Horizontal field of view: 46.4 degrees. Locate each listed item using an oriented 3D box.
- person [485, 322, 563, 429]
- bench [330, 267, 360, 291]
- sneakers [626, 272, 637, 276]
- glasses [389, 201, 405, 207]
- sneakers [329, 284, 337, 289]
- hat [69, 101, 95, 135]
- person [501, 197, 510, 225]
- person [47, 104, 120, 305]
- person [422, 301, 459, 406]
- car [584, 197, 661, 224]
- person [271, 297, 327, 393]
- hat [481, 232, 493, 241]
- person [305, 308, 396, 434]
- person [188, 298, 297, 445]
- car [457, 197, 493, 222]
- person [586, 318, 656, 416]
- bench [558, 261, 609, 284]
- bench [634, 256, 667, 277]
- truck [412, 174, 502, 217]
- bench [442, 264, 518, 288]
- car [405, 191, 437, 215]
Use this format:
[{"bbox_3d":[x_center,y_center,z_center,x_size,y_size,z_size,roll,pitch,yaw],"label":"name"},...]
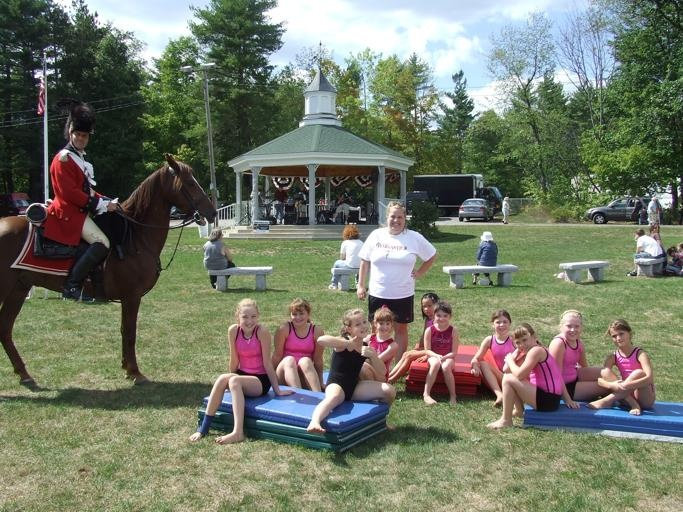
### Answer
[{"bbox_3d":[2.540,1.626,10.730,0.973,1.362,0.497,1,3,12],"label":"person"},{"bbox_3d":[0.041,0.512,18.162,0.737,0.352,0.472,0,14,-9],"label":"bench"},{"bbox_3d":[7.495,0.467,20.490,0.279,0.120,0.101,2,2,3],"label":"sneakers"},{"bbox_3d":[0.838,-0.766,11.889,0.184,0.080,0.273,3,4,32],"label":"glasses"},{"bbox_3d":[-0.191,0.713,18.340,0.105,0.093,0.171,1,3,1],"label":"sneakers"},{"bbox_3d":[-3.828,-2.051,11.742,0.361,0.425,0.472,0,3,-9],"label":"hat"},{"bbox_3d":[8.467,-2.324,40.621,0.317,1.289,2.526,1,4,13],"label":"person"},{"bbox_3d":[-3.893,-0.791,11.752,0.979,2.969,0.444,-1,4,-21],"label":"person"},{"bbox_3d":[1.461,1.396,11.650,0.498,1.387,0.693,1,3,7],"label":"person"},{"bbox_3d":[13.781,-2.263,39.525,3.002,1.098,1.287,3,4,14],"label":"car"},{"bbox_3d":[-0.551,1.293,10.866,0.777,1.335,1.343,3,5,-11],"label":"person"},{"bbox_3d":[3.929,-0.523,21.438,0.419,0.194,0.512,4,18,6],"label":"hat"},{"bbox_3d":[0.090,1.480,10.621,1.327,1.499,0.532,-2,4,-38],"label":"person"},{"bbox_3d":[-1.323,1.504,10.654,1.183,1.798,0.684,-2,4,-36],"label":"person"},{"bbox_3d":[7.201,-2.451,43.064,1.560,1.158,1.179,1,3,5],"label":"car"},{"bbox_3d":[3.788,1.461,10.622,0.753,1.179,0.467,2,4,27],"label":"person"},{"bbox_3d":[5.977,0.380,19.599,1.168,0.472,0.819,-1,4,-26],"label":"bench"},{"bbox_3d":[7.870,0.293,20.235,0.476,0.362,0.756,1,2,42],"label":"bench"},{"bbox_3d":[7.611,-3.690,50.210,5.627,2.694,2.698,0,0,29],"label":"truck"},{"bbox_3d":[3.323,0.443,19.437,1.683,0.503,2.113,1,4,3],"label":"bench"},{"bbox_3d":[4.376,-3.279,45.002,1.644,1.396,2.590,5,15,24],"label":"car"}]
